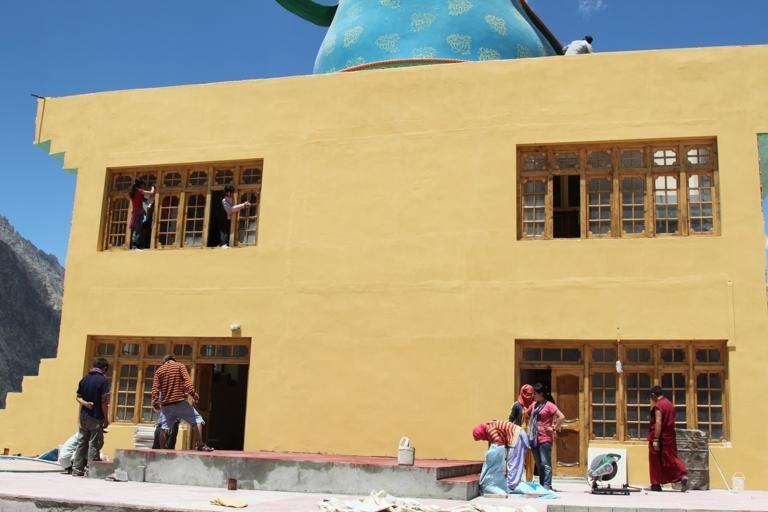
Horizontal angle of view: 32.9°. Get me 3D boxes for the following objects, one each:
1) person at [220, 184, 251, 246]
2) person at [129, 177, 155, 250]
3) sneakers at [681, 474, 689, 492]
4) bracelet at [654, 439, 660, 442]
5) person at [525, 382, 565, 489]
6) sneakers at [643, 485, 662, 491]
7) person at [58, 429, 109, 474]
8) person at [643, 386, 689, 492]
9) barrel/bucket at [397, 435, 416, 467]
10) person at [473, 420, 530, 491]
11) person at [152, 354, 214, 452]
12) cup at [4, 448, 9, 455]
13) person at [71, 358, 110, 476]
[{"bbox_3d":[-3.733,-0.991,32.470,0.707,1.609,0.521,2,-12,-7],"label":"person"},{"bbox_3d":[-6.141,-1.034,32.886,0.592,1.678,0.574,3,-12,-10],"label":"person"},{"bbox_3d":[6.548,4.966,28.485,0.163,0.328,0.234,0,1,-24],"label":"sneakers"},{"bbox_3d":[5.942,4.027,28.503,0.108,0.100,0.047,7,-13,-26],"label":"bracelet"},{"bbox_3d":[3.468,3.910,28.293,0.718,2.259,0.513,0,-12,6],"label":"person"},{"bbox_3d":[5.890,5.076,28.509,0.321,0.131,0.216,-3,-12,17],"label":"sneakers"},{"bbox_3d":[-6.722,4.397,29.184,1.049,1.158,0.733,-2,-13,34],"label":"person"},{"bbox_3d":[6.185,4.119,28.616,0.773,2.025,0.482,-1,-12,12],"label":"person"},{"bbox_3d":[0.440,4.140,27.683,0.335,0.597,0.344,1,-12,0],"label":"barrel/bucket"},{"bbox_3d":[2.567,4.354,28.418,1.523,1.676,1.155,1,-20,17],"label":"person"},{"bbox_3d":[-4.644,3.280,29.225,1.105,2.059,0.544,1,-12,-1],"label":"person"},{"bbox_3d":[-9.459,4.856,32.521,0.203,0.152,0.085,-2,-12,12],"label":"cup"},{"bbox_3d":[-6.465,3.531,28.725,0.673,2.568,0.821,4,-12,-12],"label":"person"}]
